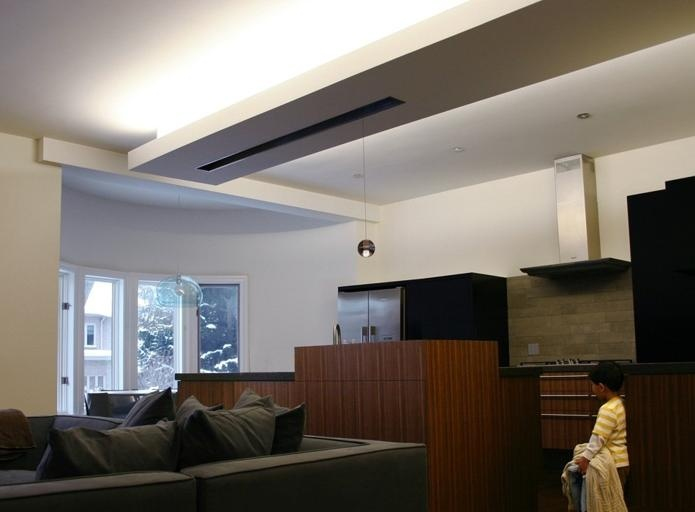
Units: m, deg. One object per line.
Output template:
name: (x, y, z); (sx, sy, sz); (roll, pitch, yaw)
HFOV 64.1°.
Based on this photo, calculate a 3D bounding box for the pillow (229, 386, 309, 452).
pillow: (-0.334, 0.758, 2.741); (0.255, 0.256, 0.153); (15, 32, 10)

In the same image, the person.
person: (1.627, 1.083, 3.527); (0.388, 0.787, 0.256); (-3, -7, 1)

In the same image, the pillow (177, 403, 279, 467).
pillow: (-0.503, 0.782, 2.428); (0.297, 0.280, 0.091); (11, -38, -41)

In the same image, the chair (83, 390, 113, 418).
chair: (-2.567, 1.495, 5.711); (0.306, 0.375, 0.295); (3, -9, -16)

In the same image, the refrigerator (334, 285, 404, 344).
refrigerator: (0.288, 0.784, 7.450); (0.249, 0.697, 1.065); (4, -11, -44)
